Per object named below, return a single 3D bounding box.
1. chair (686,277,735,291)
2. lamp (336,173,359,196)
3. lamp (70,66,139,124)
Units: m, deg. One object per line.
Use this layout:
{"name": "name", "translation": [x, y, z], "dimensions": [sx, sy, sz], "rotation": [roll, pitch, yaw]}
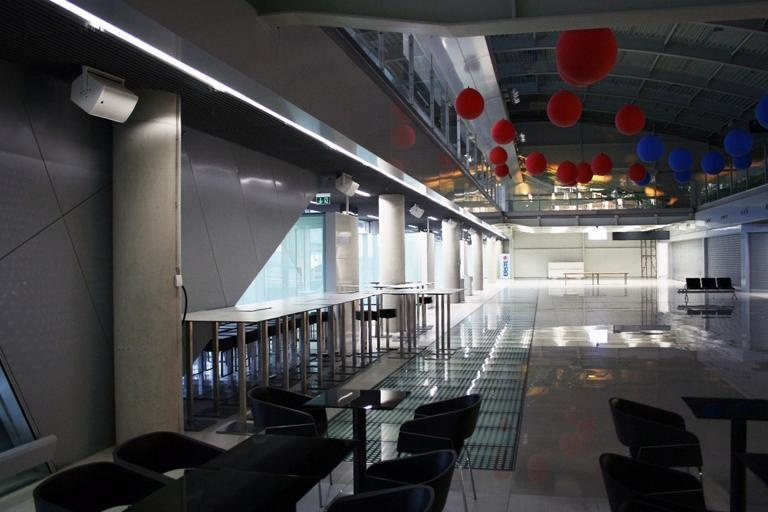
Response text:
{"name": "chair", "translation": [11.670, 1.013, 18.087], "dimensions": [1.920, 0.460, 0.974], "rotation": [3, -6, -36]}
{"name": "lamp", "translation": [-0.680, -1.298, 9.114], "dimensions": [0.370, 0.382, 0.434], "rotation": [-1, -5, -6]}
{"name": "lamp", "translation": [-2.659, -1.535, 4.811], "dimensions": [0.447, 0.413, 0.452], "rotation": [5, 7, 25]}
